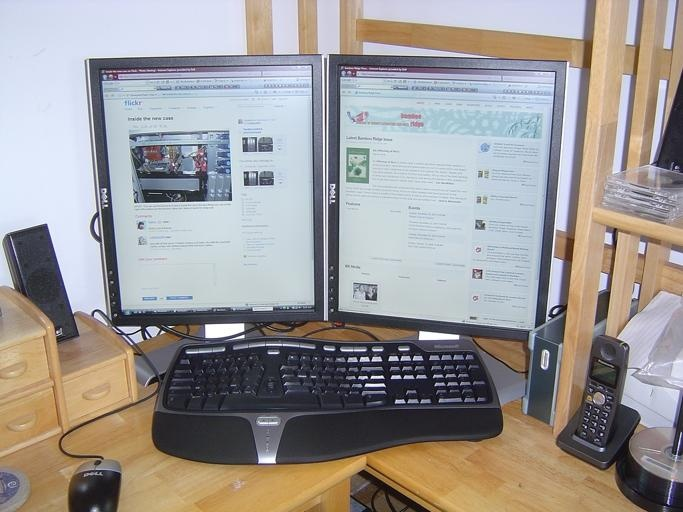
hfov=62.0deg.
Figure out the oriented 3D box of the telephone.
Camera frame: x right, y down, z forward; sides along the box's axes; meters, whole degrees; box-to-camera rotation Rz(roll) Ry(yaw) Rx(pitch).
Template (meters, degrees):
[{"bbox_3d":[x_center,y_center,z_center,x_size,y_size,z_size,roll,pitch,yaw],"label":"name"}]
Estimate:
[{"bbox_3d":[0.469,0.275,1.048,0.117,0.219,0.184,24,49,37],"label":"telephone"}]
